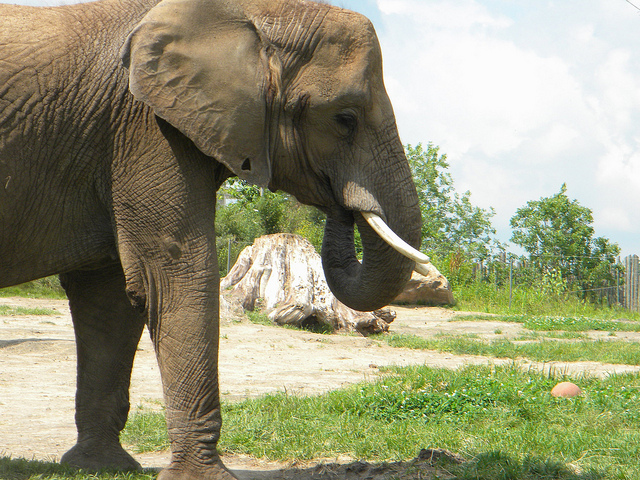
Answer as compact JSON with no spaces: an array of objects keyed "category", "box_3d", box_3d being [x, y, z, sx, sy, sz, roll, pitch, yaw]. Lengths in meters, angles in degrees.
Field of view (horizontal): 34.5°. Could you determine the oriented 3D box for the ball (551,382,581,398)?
[{"category":"ball","box_3d":[2.457,1.516,10.386,0.209,0.123,0.139,-2,1,1]}]
